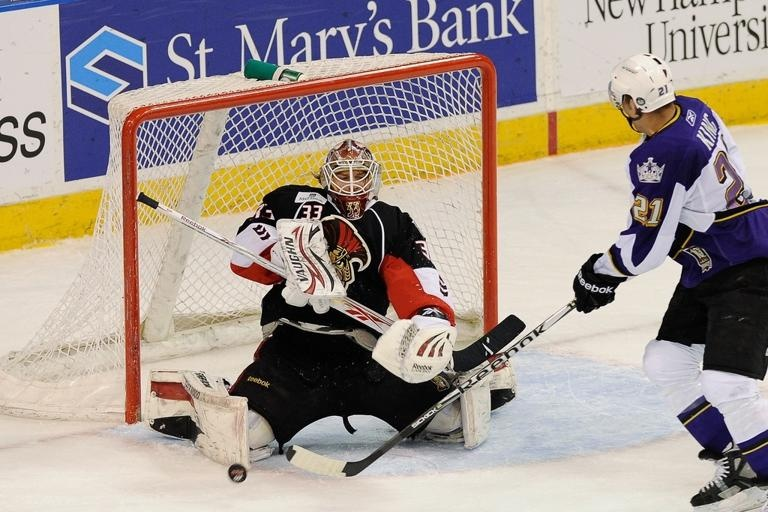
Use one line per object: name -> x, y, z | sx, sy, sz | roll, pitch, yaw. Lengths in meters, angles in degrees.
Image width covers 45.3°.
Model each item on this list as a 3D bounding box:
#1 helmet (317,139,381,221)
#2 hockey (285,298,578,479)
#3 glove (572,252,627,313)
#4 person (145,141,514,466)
helmet -> -0.110, -0.322, 3.500 | 0.242, 0.266, 0.292 | -4, 26, 3
hockey -> 0.147, 0.528, 3.499 | 1.291, 0.232, 0.064 | -28, -1, -4
glove -> 0.770, 0.101, 3.303 | 0.212, 0.193, 0.081 | -37, 14, -7
person -> -0.163, 0.193, 3.513 | 1.472, 1.078, 0.816 | 0, 6, -6
